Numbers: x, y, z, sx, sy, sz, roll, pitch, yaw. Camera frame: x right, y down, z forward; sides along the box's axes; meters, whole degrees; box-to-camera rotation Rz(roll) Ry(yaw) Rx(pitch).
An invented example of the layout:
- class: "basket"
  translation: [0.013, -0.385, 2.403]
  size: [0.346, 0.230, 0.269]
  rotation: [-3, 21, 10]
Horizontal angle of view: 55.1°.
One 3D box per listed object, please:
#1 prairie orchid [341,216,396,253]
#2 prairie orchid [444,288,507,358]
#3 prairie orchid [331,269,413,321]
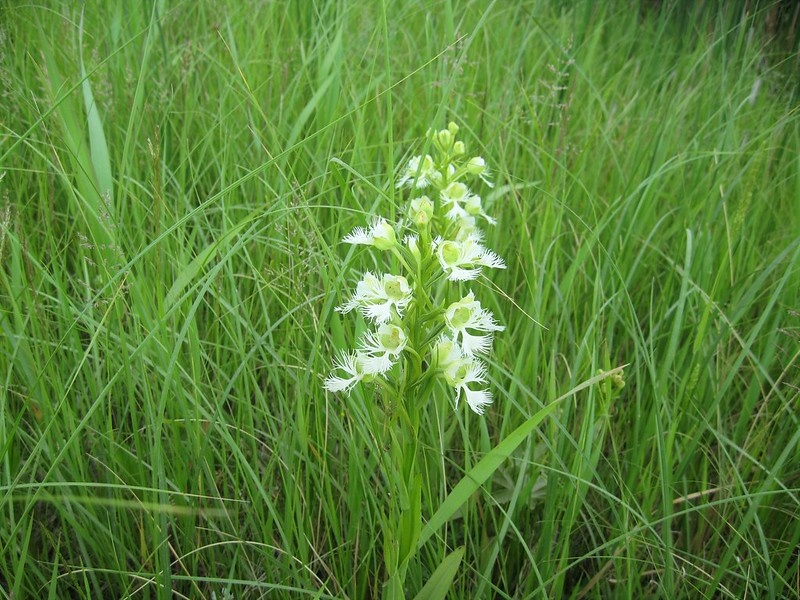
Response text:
- class: "prairie orchid"
  translation: [-0.091, -0.200, 2.525]
  size: [0.129, 0.063, 0.143]
  rotation: [-33, -3, -33]
- class: "prairie orchid"
  translation: [0.219, 0.060, 2.444]
  size: [0.151, 0.101, 0.166]
  rotation: [-4, 8, -43]
- class: "prairie orchid"
  translation: [-0.071, -0.003, 2.444]
  size: [0.165, 0.088, 0.171]
  rotation: [-13, 62, -2]
